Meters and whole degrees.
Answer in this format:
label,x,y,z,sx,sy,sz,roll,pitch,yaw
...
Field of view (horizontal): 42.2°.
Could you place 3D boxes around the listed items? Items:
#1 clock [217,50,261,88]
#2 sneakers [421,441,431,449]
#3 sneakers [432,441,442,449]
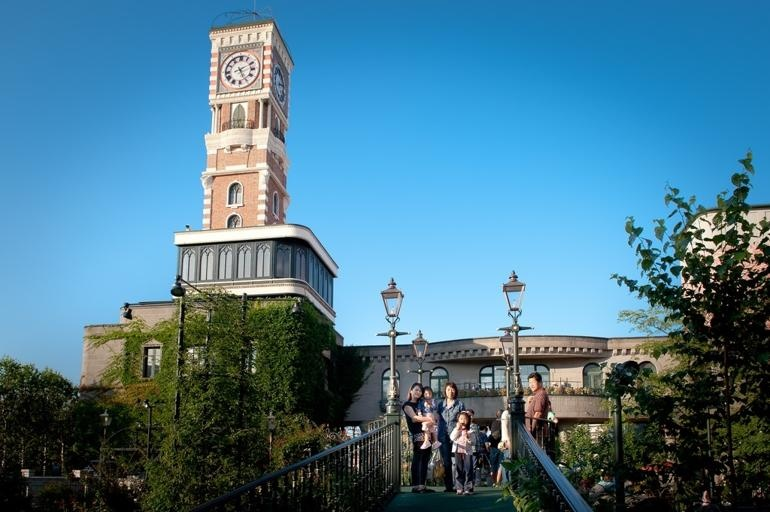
label,x,y,z,sx,sy,sz,roll,pitch,yaw
clock,-9.444,-11.967,64.824,2.285,2.220,0.197,13,-9,14
sneakers,1.162,5.507,29.155,0.313,0.211,0.149,-12,-17,35
sneakers,1.479,5.508,29.318,0.217,0.192,0.543,-4,-13,6
